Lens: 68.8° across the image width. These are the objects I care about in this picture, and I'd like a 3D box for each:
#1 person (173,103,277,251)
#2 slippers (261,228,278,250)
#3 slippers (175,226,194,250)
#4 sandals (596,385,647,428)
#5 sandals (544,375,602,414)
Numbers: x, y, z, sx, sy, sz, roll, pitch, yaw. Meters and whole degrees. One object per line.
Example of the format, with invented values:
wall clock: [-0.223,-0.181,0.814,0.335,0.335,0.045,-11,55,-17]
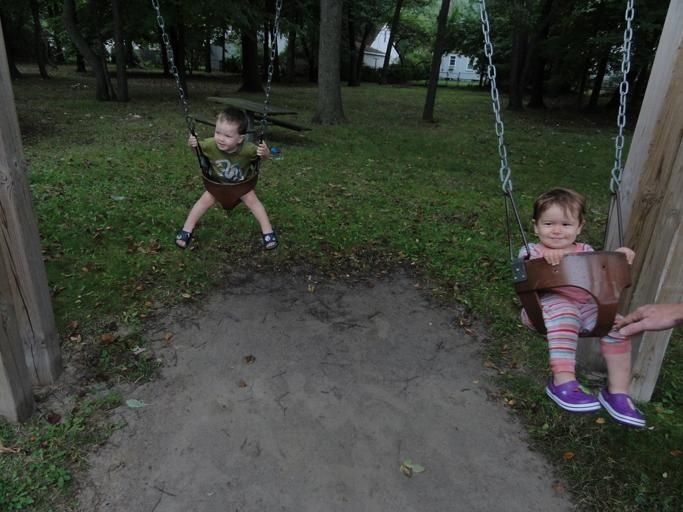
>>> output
person: [-1.081,-0.721,4.697,0.888,1.243,0.569,-4,27,-9]
slippers: [-0.678,-0.166,4.861,0.123,0.098,0.220,-8,39,-6]
slippers: [-1.491,-0.185,4.775,0.110,0.084,0.278,4,35,-7]
sandals: [1.769,0.942,3.128,0.150,0.157,0.300,-7,27,-15]
sandals: [1.438,0.854,3.095,0.165,0.130,0.329,-2,5,-25]
